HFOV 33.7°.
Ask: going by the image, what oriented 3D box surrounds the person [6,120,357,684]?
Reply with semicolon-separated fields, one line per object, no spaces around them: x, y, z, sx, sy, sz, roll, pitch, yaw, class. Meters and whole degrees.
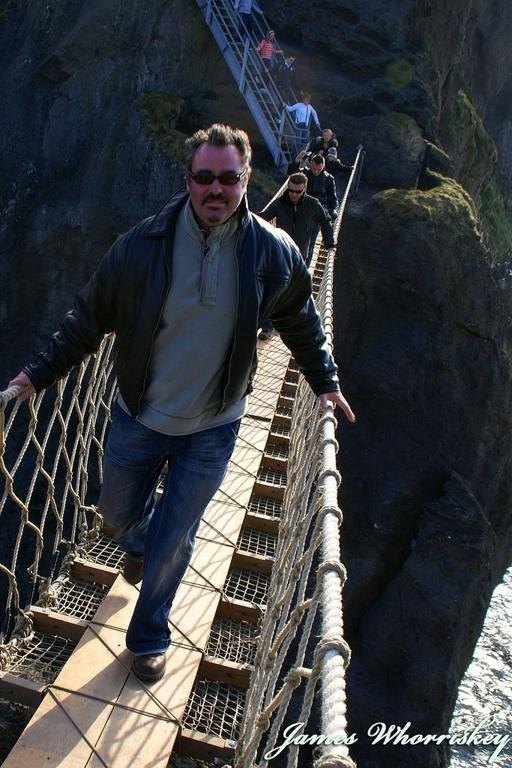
-0.287;0.068;2.956;0.977;1.883;0.484;22;14;3;person
